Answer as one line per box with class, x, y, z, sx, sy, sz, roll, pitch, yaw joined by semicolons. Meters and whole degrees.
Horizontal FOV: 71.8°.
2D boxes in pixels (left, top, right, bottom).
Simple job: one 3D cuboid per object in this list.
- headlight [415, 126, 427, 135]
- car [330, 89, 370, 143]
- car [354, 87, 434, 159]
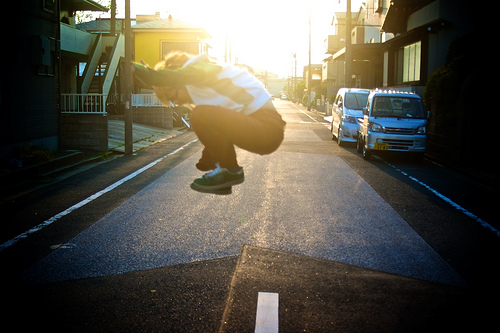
headlight;6.867;-1.466;13.793;0.291;0.228;0.324;5;11;23
car;5.250;-2.789;18.197;1.419;1.709;3.047;0;11;0
car;6.138;-1.795;14.574;2.835;2.850;3.224;5;10;30
